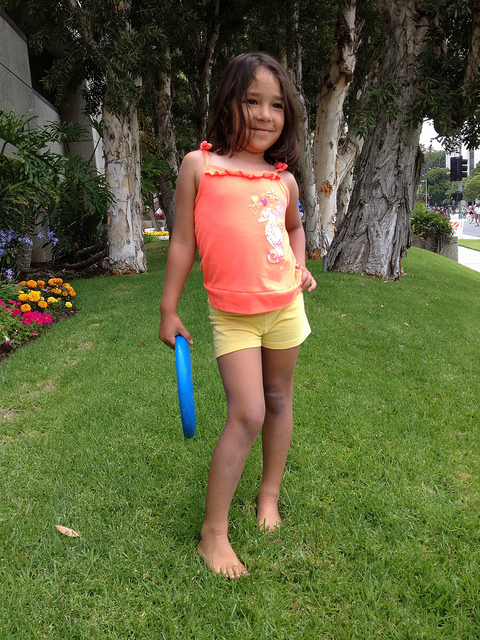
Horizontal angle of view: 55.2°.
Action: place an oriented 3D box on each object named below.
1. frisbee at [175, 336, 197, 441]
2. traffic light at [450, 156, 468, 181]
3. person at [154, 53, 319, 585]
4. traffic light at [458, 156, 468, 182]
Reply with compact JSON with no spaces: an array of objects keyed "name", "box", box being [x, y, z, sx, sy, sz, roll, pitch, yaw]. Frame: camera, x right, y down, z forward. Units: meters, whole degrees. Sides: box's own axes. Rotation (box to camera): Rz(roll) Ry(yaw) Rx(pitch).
[{"name":"frisbee","box":[-0.180,0.242,1.492,0.071,0.367,0.260,1,10,-6]},{"name":"traffic light","box":[7.179,-4.933,14.948,0.496,0.894,1.577,8,12,29]},{"name":"person","box":[0.013,-0.049,1.587,0.425,1.660,0.606,9,11,35]},{"name":"traffic light","box":[7.583,-5.187,15.499,0.294,0.935,2.514,7,12,25]}]
